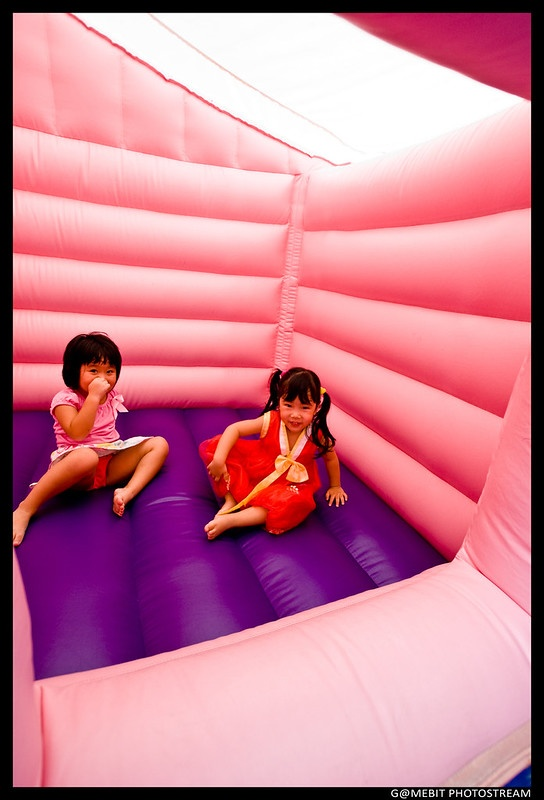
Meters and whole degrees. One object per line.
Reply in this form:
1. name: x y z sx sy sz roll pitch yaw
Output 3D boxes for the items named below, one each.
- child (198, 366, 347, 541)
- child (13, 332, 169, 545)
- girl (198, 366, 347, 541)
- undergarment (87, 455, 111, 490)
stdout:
1. child: 0.007 0.186 1.303 0.322 0.326 0.437 30 38 24
2. child: -0.467 0.066 1.292 0.248 0.519 0.454 -4 -3 12
3. girl: -0.014 0.136 1.296 0.371 0.373 0.524 9 20 18
4. undergarment: -0.449 0.196 1.296 0.054 0.068 0.075 7 38 -18
